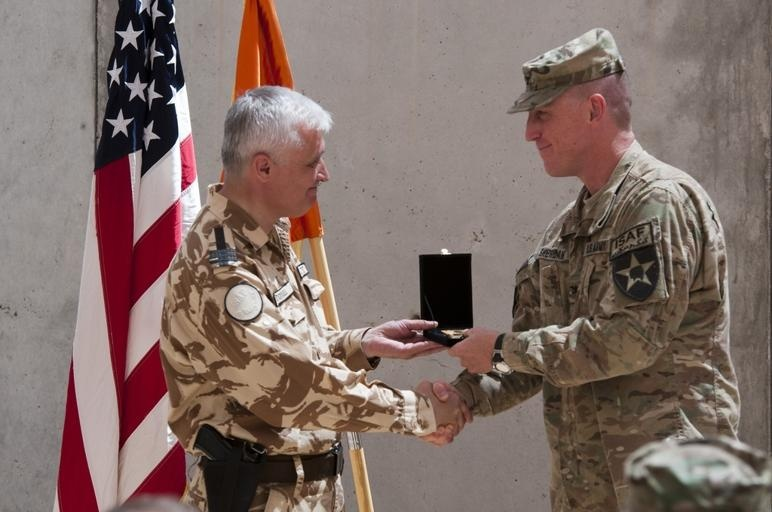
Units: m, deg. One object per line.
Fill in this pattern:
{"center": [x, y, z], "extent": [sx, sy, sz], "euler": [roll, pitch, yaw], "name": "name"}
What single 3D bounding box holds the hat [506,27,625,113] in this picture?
{"center": [0.781, -0.837, 5.460], "extent": [0.564, 0.248, 0.385], "euler": [-17, 12, -7], "name": "hat"}
